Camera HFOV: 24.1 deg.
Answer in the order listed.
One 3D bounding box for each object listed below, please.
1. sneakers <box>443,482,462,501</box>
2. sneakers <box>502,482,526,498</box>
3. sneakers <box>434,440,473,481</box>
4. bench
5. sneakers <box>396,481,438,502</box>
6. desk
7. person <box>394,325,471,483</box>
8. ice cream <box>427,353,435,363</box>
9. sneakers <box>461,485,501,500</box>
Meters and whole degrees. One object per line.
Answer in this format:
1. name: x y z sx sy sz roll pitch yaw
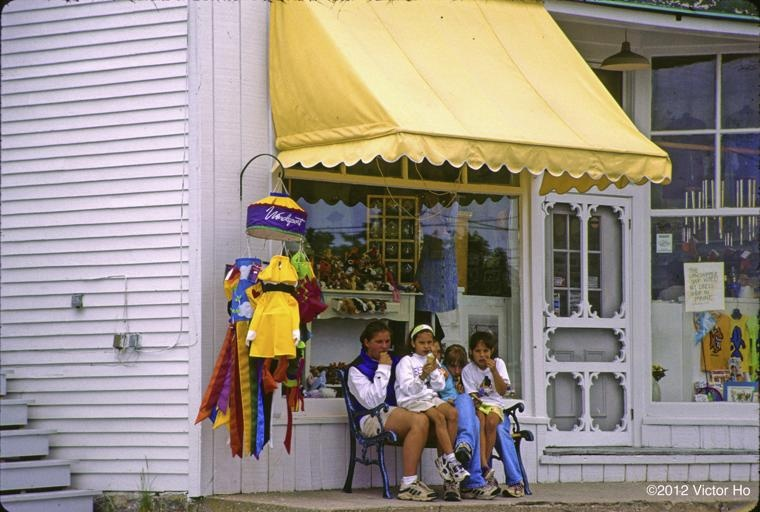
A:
1. sneakers: 0.773 2.571 19.514 0.183 0.209 0.130 0 -5 -8
2. sneakers: 1.470 2.594 19.807 0.252 0.158 0.219 -1 -5 2
3. sneakers: 0.746 2.309 19.516 0.477 0.234 0.194 5 4 44
4. bench: 0.806 2.182 20.139 0.913 1.425 2.074 2 10 37
5. sneakers: 0.376 2.580 19.508 0.456 0.232 0.183 0 -5 8
6. desk: -0.273 0.971 20.269 1.049 0.994 0.401 3 -10 -22
7. person: 0.529 1.630 19.733 0.841 1.753 0.429 -2 -5 11
8. ice cream: 0.543 1.123 19.761 0.074 0.073 0.074 4 -7 -25
9. sneakers: 1.101 2.601 19.649 0.403 0.189 0.153 -2 -5 10
